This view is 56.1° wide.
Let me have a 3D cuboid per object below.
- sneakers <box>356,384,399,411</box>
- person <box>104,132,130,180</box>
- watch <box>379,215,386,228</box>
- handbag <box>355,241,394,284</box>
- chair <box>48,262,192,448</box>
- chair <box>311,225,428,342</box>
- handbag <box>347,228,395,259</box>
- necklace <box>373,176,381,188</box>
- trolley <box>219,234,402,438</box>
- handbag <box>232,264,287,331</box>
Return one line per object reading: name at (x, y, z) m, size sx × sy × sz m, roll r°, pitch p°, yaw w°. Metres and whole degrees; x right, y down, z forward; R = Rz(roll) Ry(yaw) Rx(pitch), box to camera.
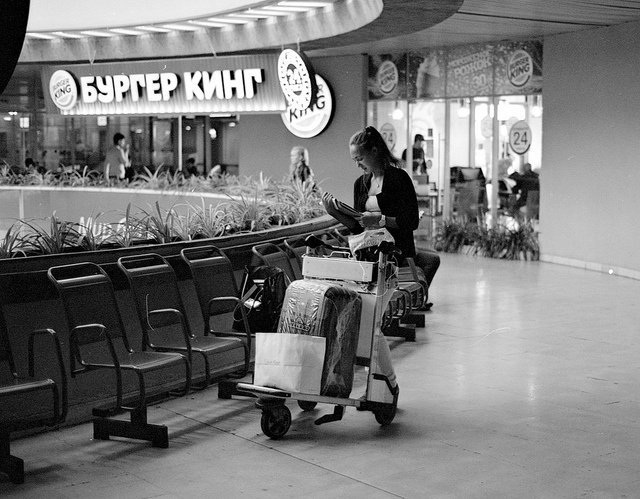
sneakers at (0.377, 0.942, 3.770) m, size 0.248 × 0.128 × 0.348 m, roll -2°, pitch -5°, yaw 13°
person at (-4.968, -2.281, 14.679) m, size 0.603 × 1.187 × 1.560 m, roll -2°, pitch 7°, yaw -19°
watch at (0.395, -0.175, 3.738) m, size 0.044 × 0.070 × 0.063 m, roll 1°, pitch 2°, yaw -28°
handbag at (0.360, 0.083, 3.750) m, size 0.261 × 0.290 × 0.210 m, roll 3°, pitch 5°, yaw 21°
chair at (-1.269, 0.634, 3.734) m, size 0.698 × 1.049 × 1.054 m, roll -4°, pitch 7°, yaw -32°
chair at (0.600, 0.460, 6.003) m, size 0.801 × 1.302 × 1.358 m, roll 3°, pitch 6°, yaw 29°
handbag at (0.313, -0.039, 3.693) m, size 0.191 × 0.100 × 0.156 m, roll -15°, pitch 8°, yaw -10°
necklace at (0.384, -0.446, 3.970) m, size 0.045 × 0.062 × 0.031 m, roll 2°, pitch -1°, yaw 42°
trolley at (-0.019, 0.508, 3.752) m, size 0.939 × 1.174 × 0.695 m, roll 9°, pitch -6°, yaw -43°
handbag at (-0.417, 0.354, 4.594) m, size 0.389 × 0.558 × 0.477 m, roll 7°, pitch 12°, yaw 21°
